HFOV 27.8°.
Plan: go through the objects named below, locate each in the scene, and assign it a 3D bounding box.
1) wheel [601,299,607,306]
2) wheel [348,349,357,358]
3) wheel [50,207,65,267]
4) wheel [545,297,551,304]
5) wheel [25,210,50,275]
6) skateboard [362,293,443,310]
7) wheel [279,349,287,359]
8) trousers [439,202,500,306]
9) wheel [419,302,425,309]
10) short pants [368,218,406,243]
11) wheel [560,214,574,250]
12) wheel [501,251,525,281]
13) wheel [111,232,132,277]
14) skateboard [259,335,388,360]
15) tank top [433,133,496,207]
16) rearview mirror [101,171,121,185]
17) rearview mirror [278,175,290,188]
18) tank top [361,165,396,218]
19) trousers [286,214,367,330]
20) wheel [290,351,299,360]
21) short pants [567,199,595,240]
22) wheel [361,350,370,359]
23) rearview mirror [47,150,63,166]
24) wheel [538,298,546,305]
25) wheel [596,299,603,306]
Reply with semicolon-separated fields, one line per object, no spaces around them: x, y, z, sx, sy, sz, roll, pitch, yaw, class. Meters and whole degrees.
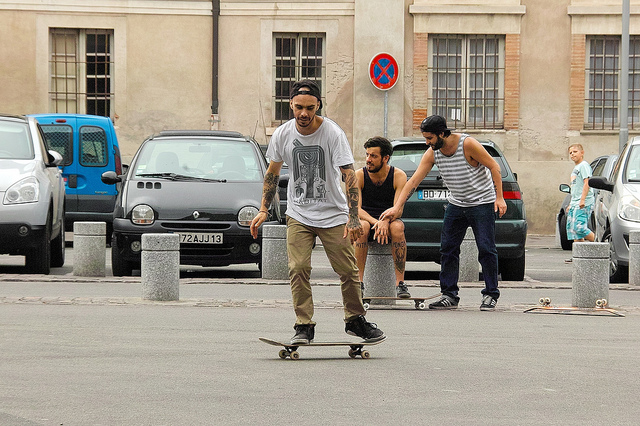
3.980;1.250;18.025;0.099;0.094;0.023;-6;1;13;wheel
0.401;1.685;15.456;0.112;0.107;0.026;-5;-2;-2;wheel
-4.413;0.444;21.629;0.227;1.001;0.415;-2;12;-15;wheel
3.203;1.242;18.037;0.105;0.102;0.036;3;16;34;wheel
-4.420;0.454;20.183;0.390;1.091;0.879;-2;11;-13;wheel
1.324;1.224;17.974;1.549;0.256;0.359;-1;1;-3;skateboard
-0.448;1.675;15.387;0.093;0.098;0.106;-6;13;-31;wheel
2.098;0.498;18.220;0.807;1.624;0.472;-1;1;15;trousers
1.439;1.304;18.137;0.099;0.095;0.025;0;1;-2;wheel
0.935;0.266;18.162;0.465;0.373;0.394;-2;11;-14;short pants
4.894;0.359;25.460;0.241;0.696;0.710;1;8;4;wheel
3.112;0.879;20.794;0.365;0.506;0.500;3;11;8;wheel
-3.111;0.651;20.230;0.295;0.757;0.428;-1;11;-8;wheel
0.209;1.603;15.324;1.842;0.294;0.458;1;2;-9;skateboard
2.027;-0.596;18.013;0.892;1.001;0.251;2;11;3;tank top
-3.412;-0.571;21.031;0.285;0.193;0.436;-2;11;-16;rearview mirror
-0.668;-0.615;24.576;0.242;0.135;0.332;3;3;4;rearview mirror
0.831;-0.300;18.302;0.477;0.748;0.124;1;11;0;tank top
0.064;0.694;15.535;0.872;1.319;0.490;-2;12;-14;trousers
-0.299;1.694;15.330;0.102;0.095;0.044;-2;12;-15;wheel
4.749;0.122;23.443;0.456;0.776;0.403;3;11;9;short pants
0.550;1.699;15.480;0.085;0.086;0.099;16;-1;-4;wheel
-4.266;-0.878;20.787;0.228;0.219;0.475;-2;11;-13;rearview mirror
3.107;1.238;18.013;0.084;0.085;0.093;1;-3;0;wheel
3.920;1.250;18.040;0.074;0.091;0.178;2;11;6;wheel
